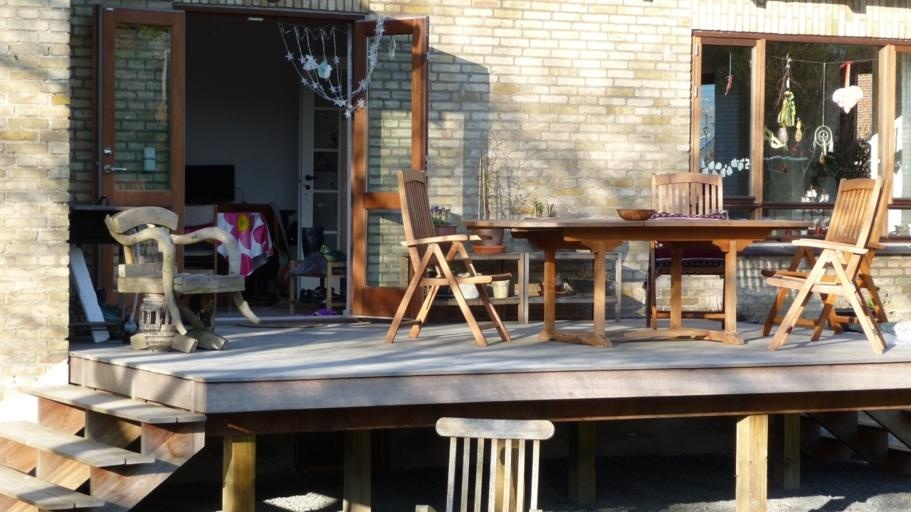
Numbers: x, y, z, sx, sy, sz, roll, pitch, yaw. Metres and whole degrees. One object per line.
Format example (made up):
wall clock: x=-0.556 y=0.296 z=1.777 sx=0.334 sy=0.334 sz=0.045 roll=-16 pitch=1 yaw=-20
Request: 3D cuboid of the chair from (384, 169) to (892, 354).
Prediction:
chair: x=2.080 y=0.122 z=11.289 sx=4.797 sy=1.679 sz=1.126 roll=-2 pitch=8 yaw=4

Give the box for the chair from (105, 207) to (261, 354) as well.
chair: x=-2.830 y=0.212 z=10.865 sx=1.016 sy=1.431 sz=1.080 roll=-9 pitch=10 yaw=-41
